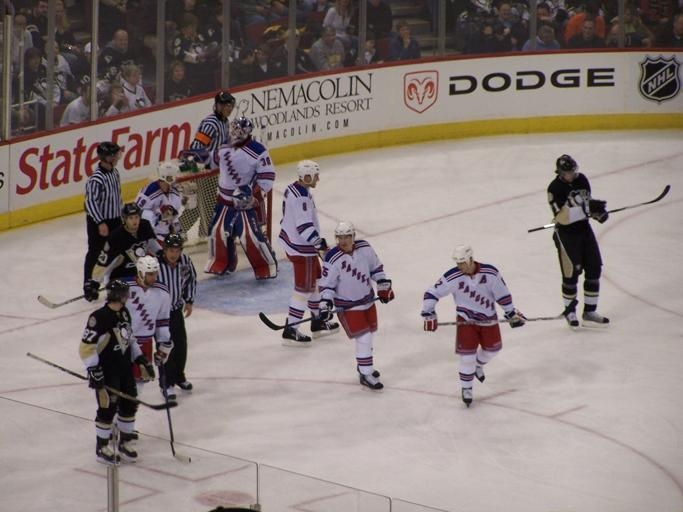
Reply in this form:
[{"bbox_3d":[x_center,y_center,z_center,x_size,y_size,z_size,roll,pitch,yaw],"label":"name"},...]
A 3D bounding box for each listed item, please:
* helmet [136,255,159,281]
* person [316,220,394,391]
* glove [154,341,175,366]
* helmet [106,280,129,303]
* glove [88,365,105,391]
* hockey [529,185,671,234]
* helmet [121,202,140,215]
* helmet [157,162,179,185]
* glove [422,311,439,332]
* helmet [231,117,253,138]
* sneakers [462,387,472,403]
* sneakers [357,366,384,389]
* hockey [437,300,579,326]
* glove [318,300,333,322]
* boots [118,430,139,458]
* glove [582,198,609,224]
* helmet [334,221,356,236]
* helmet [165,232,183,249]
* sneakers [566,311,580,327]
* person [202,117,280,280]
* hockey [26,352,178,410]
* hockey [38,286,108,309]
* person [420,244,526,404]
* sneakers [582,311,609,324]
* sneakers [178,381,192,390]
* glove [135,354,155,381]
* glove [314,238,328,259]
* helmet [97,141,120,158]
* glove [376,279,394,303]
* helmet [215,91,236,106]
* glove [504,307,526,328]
[{"bbox_3d":[-1.606,0.098,8.689,0.195,0.180,0.146,9,14,20],"label":"helmet"},{"bbox_3d":[0.146,0.451,9.738,0.660,1.551,0.454,-4,9,3],"label":"person"},{"bbox_3d":[-1.541,0.828,8.961,0.168,0.177,0.204,-4,16,-22],"label":"glove"},{"bbox_3d":[-1.767,0.295,8.313,0.143,0.169,0.179,10,29,16],"label":"helmet"},{"bbox_3d":[-1.926,0.957,8.224,0.070,0.160,0.161,-11,23,-8],"label":"glove"},{"bbox_3d":[3.130,-0.535,12.581,2.237,0.292,0.151,-17,1,-11],"label":"hockey"},{"bbox_3d":[-2.022,-0.456,10.128,0.127,0.144,0.154,0,-19,-37],"label":"helmet"},{"bbox_3d":[-1.841,-0.925,11.324,0.245,0.238,0.191,-16,44,-19],"label":"helmet"},{"bbox_3d":[0.796,0.592,9.387,0.137,0.169,0.179,0,3,3],"label":"glove"},{"bbox_3d":[-1.110,-1.444,11.920,0.269,0.222,0.206,11,14,-15],"label":"helmet"},{"bbox_3d":[1.129,1.250,9.354,0.058,0.164,0.078,2,-15,1],"label":"sneakers"},{"bbox_3d":[0.274,1.138,9.747,0.308,0.208,0.103,9,15,35],"label":"sneakers"},{"bbox_3d":[1.678,0.563,10.275,1.658,0.269,0.226,0,-27,-34],"label":"hockey"},{"bbox_3d":[-0.143,0.503,9.564,0.136,0.169,0.174,3,5,9],"label":"glove"},{"bbox_3d":[-1.667,1.475,8.202,0.101,0.113,0.288,-3,15,-27],"label":"boots"},{"bbox_3d":[2.619,-0.456,10.729,0.186,0.260,0.122,4,56,24],"label":"glove"},{"bbox_3d":[0.035,-0.252,9.623,0.142,0.169,0.170,-4,2,2],"label":"helmet"},{"bbox_3d":[-1.487,-0.135,9.289,0.143,0.106,0.222,-5,9,-6],"label":"helmet"},{"bbox_3d":[2.393,0.654,10.819,0.083,0.085,0.219,-1,16,5],"label":"sneakers"},{"bbox_3d":[-1.192,-0.656,12.165,0.817,1.886,0.432,0,10,25],"label":"person"},{"bbox_3d":[-2.030,1.098,9.032,1.140,0.093,0.162,26,-31,-20],"label":"hockey"},{"bbox_3d":[-2.795,0.437,10.914,0.817,0.143,0.086,-19,-20,36],"label":"hockey"},{"bbox_3d":[1.188,0.599,9.412,0.926,1.442,0.360,-5,9,-8],"label":"person"},{"bbox_3d":[2.636,0.632,10.875,0.292,0.118,0.107,3,6,13],"label":"sneakers"},{"bbox_3d":[-1.431,1.197,9.707,0.171,0.072,0.060,2,30,9],"label":"sneakers"},{"bbox_3d":[-1.594,0.915,8.540,0.144,0.239,0.102,-23,-1,-30],"label":"glove"},{"bbox_3d":[-0.191,-0.075,10.574,0.132,0.206,0.070,-8,16,0],"label":"glove"},{"bbox_3d":[-2.454,-1.121,10.990,0.203,0.153,0.253,-11,11,-39],"label":"helmet"},{"bbox_3d":[0.407,0.335,9.888,0.171,0.195,0.084,-4,5,-8],"label":"glove"},{"bbox_3d":[-1.361,-1.831,12.173,0.209,0.148,0.190,-5,9,-7],"label":"helmet"},{"bbox_3d":[1.578,0.575,9.555,0.141,0.126,0.244,-19,13,-5],"label":"glove"}]
